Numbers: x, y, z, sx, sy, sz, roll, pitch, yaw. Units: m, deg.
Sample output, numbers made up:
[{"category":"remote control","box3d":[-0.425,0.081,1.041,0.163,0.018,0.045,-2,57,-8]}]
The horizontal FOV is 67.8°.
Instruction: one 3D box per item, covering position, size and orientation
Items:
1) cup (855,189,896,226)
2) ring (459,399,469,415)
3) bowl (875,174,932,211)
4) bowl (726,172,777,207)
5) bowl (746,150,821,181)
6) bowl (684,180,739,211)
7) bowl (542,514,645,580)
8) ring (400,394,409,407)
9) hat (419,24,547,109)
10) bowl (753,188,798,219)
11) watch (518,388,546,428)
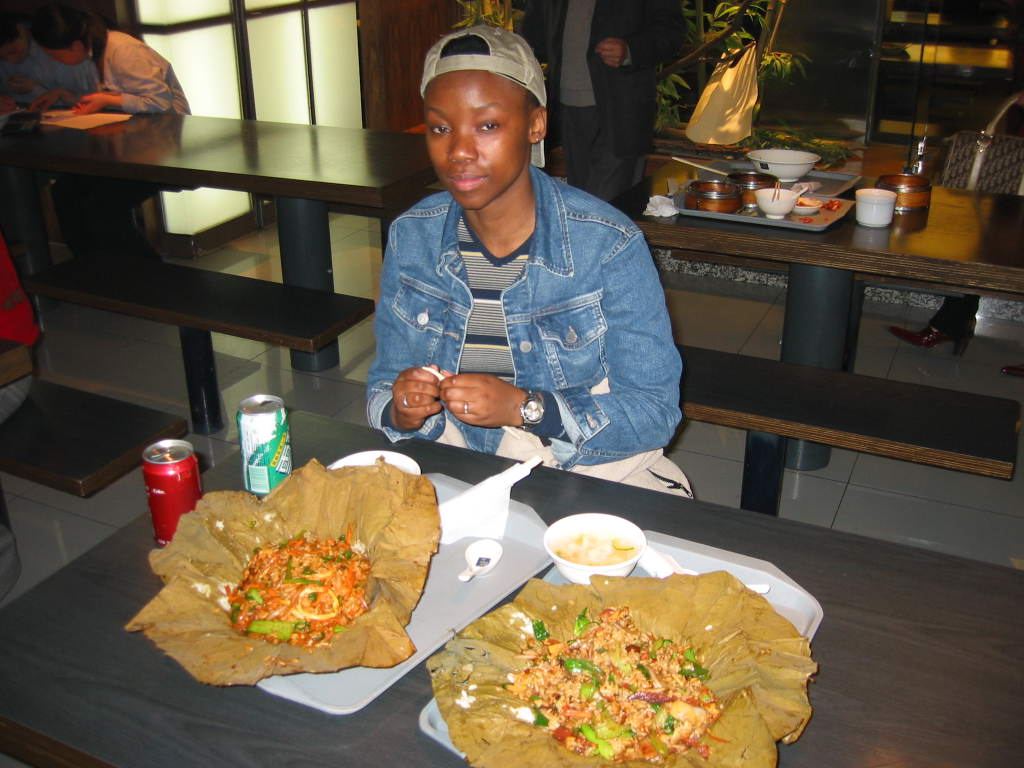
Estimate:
[{"category":"cup","box3d":[1.291,-0.622,2.713,0.135,0.116,0.177,15,28,27]},{"category":"ring","box3d":[-0.093,0.042,1.461,0.023,0.028,0.011,0,2,5]},{"category":"bowl","box3d":[1.469,-0.722,2.857,0.175,0.092,0.164,-2,23,1]},{"category":"bowl","box3d":[0.920,-0.770,2.952,0.180,0.071,0.191,0,31,0]},{"category":"bowl","box3d":[1.117,-0.893,3.102,0.208,0.073,0.194,-2,30,1]},{"category":"bowl","box3d":[0.740,-0.697,2.841,0.156,0.059,0.147,-1,30,1]},{"category":"bowl","box3d":[0.127,0.252,1.197,0.120,0.038,0.113,-2,24,1]},{"category":"ring","box3d":[-0.214,0.033,1.522,0.018,0.022,0.009,9,6,40]},{"category":"hat","box3d":[-0.054,-0.617,1.497,0.233,0.137,0.107,0,25,-2]},{"category":"bowl","box3d":[0.945,-0.647,2.733,0.128,0.083,0.129,-3,27,2]},{"category":"watch","box3d":[0.042,0.052,1.561,0.054,0.067,0.071,-2,10,-11]}]
